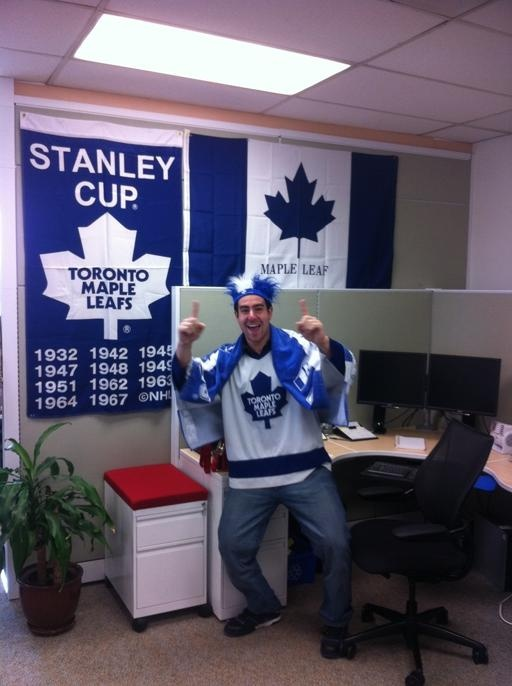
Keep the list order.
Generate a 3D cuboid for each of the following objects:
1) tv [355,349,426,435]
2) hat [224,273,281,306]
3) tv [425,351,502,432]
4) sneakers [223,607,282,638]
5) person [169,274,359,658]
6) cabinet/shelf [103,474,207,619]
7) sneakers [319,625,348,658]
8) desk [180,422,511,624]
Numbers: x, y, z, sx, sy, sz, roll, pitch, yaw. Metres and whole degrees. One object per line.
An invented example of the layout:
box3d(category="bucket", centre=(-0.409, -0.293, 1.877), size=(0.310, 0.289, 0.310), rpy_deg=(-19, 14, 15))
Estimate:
box3d(category="tv", centre=(0.761, 0.270, 3.132), size=(0.412, 0.580, 0.194), rpy_deg=(1, -3, -17))
box3d(category="hat", centre=(-0.024, -0.242, 2.485), size=(0.203, 0.139, 0.224), rpy_deg=(1, -5, -3))
box3d(category="tv", centre=(1.144, 0.255, 2.975), size=(0.402, 0.452, 0.139), rpy_deg=(3, 0, 30))
box3d(category="sneakers", centre=(-0.026, 1.215, 2.415), size=(0.228, 0.099, 0.086), rpy_deg=(3, -2, -30))
box3d(category="person", centre=(0.052, 0.460, 2.318), size=(0.677, 1.594, 0.674), rpy_deg=(-6, -6, 13))
box3d(category="cabinet/shelf", centre=(-0.547, 0.923, 2.621), size=(0.392, 0.710, 0.592), rpy_deg=(1, -6, -28))
box3d(category="sneakers", centre=(0.310, 1.190, 2.178), size=(0.081, 0.126, 0.112), rpy_deg=(-1, -11, 8))
box3d(category="desk", centre=(0.198, 0.794, 2.578), size=(0.998, 0.563, 1.034), rpy_deg=(-2, 1, -35))
